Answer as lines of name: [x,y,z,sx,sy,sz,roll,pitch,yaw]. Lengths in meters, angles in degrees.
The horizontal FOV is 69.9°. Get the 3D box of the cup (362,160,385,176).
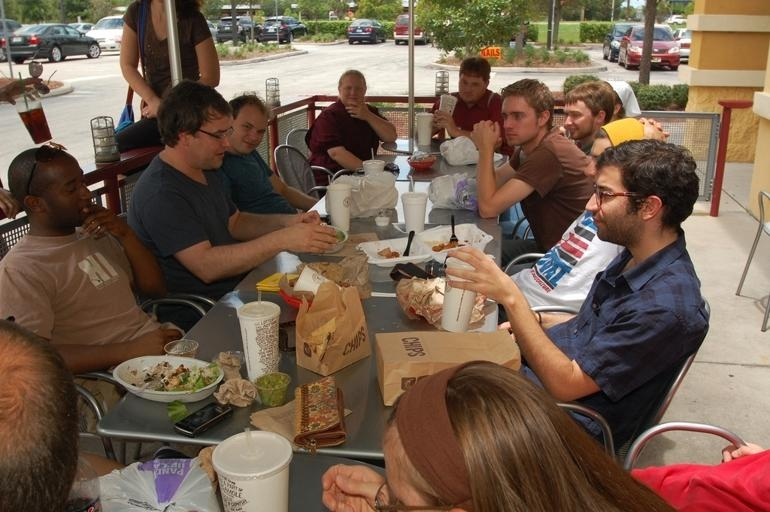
cup: [-0.096,-0.663,4.208,0.206,0.113,0.198,0,8,0]

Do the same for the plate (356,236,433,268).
plate: [0.043,-0.030,3.128,0.350,0.072,0.368,-7,20,-17]

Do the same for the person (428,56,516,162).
person: [0.999,-1.608,6.613,1.048,1.417,0.905,-10,27,-21]

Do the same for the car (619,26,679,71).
car: [10.695,-8.354,22.174,2.284,1.788,2.412,7,21,21]

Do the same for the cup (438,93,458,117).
cup: [0.697,-1.688,6.167,0.161,0.212,0.362,2,20,9]

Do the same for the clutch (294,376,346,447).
clutch: [-0.224,0.505,1.832,0.193,0.077,0.218,-17,43,-1]

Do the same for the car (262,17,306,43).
car: [-7.078,-15.618,38.151,1.640,1.833,4.866,2,19,9]

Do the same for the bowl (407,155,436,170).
bowl: [0.355,-0.860,5.067,0.274,0.122,0.209,-7,20,-14]

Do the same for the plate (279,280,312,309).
plate: [-0.412,0.177,2.464,0.140,0.076,0.145,8,20,-2]

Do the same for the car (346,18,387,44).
car: [-1.420,-15.956,39.316,1.991,1.626,2.129,8,22,25]

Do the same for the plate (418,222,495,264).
plate: [0.421,-0.090,3.257,0.307,0.050,0.278,7,31,19]

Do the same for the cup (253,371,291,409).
cup: [-0.396,0.473,1.954,0.133,0.075,0.128,-2,12,0]

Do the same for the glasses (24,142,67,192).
glasses: [-1.621,-0.432,2.575,0.076,0.226,0.226,15,20,-5]

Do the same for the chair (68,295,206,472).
chair: [-1.018,0.498,2.215,0.291,0.222,0.956,8,16,-5]

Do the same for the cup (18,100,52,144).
cup: [-2.133,-0.812,3.342,0.136,0.288,0.302,-14,24,-30]

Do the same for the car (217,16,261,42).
car: [-9.126,-14.038,34.210,1.417,1.675,4.171,3,20,12]

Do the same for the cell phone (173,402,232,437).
cell phone: [-0.610,0.539,1.860,0.082,0.030,0.138,14,22,36]
